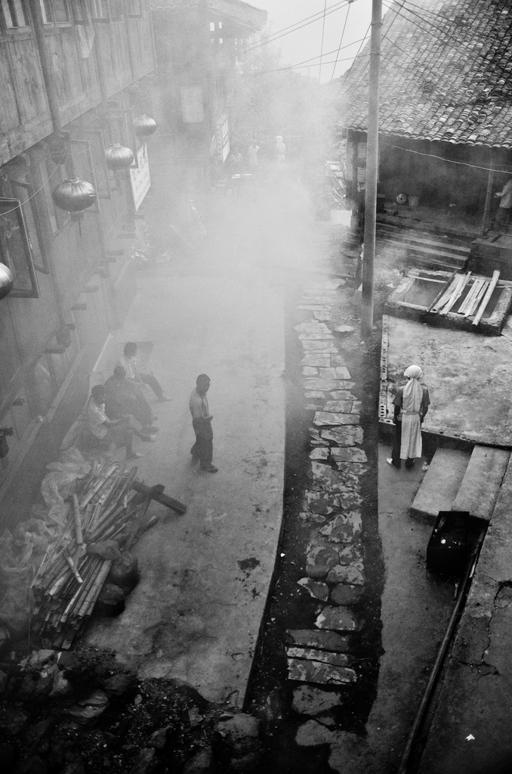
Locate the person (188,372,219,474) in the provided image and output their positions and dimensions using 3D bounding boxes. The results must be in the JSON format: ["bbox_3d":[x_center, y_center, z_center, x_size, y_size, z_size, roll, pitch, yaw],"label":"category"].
[{"bbox_3d":[-0.771,0.538,8.092,0.343,1.386,0.444,-4,26,-8],"label":"person"}]

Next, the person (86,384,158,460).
[{"bbox_3d":[-2.020,0.397,8.702,0.966,1.198,0.708,-2,33,-11],"label":"person"}]

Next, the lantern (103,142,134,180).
[{"bbox_3d":[-2.396,-3.996,10.002,0.532,0.378,0.339,-23,35,-36],"label":"lantern"}]

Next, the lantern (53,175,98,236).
[{"bbox_3d":[-2.202,-2.338,7.006,0.296,0.362,0.507,16,32,29],"label":"lantern"}]

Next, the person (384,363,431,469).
[{"bbox_3d":[2.178,0.446,8.186,0.477,1.686,0.426,6,26,13],"label":"person"}]

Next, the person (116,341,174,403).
[{"bbox_3d":[-1.934,-0.216,9.953,0.517,0.967,0.436,-20,45,-4],"label":"person"}]
